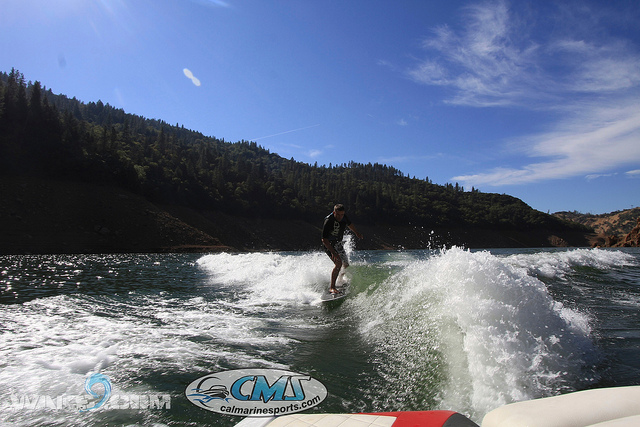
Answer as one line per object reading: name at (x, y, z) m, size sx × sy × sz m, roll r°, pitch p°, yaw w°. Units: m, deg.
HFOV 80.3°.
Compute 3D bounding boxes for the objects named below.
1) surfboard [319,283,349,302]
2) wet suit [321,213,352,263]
surfboard at (0.406, 2.116, 10.303) m, size 0.781 × 0.225 × 1.158 m, roll 1°, pitch 6°, yaw 5°
wet suit at (0.503, 0.726, 10.920) m, size 0.463 × 1.504 × 1.075 m, roll 4°, pitch 8°, yaw 31°
